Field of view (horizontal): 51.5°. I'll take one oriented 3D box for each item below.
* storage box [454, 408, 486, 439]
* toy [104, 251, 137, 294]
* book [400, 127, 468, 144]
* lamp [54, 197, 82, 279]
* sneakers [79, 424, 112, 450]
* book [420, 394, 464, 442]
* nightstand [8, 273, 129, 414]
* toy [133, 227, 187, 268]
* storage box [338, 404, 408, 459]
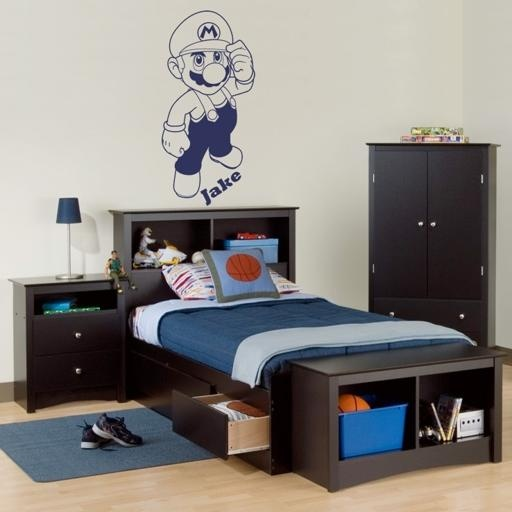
[{"bbox_3d":[0.884,0.688,2.229,0.105,0.087,0.113,-1,-3,-20],"label":"storage box"},{"bbox_3d":[-0.872,0.089,3.354,0.167,0.300,0.266,-11,14,-41],"label":"toy"},{"bbox_3d":[1.366,-0.932,4.084,0.486,0.095,0.056,-1,-1,7],"label":"book"},{"bbox_3d":[-1.187,-0.129,3.393,0.158,0.537,0.322,-1,-1,-20],"label":"lamp"},{"bbox_3d":[-0.731,0.820,2.446,0.059,0.073,0.164,0,-2,14],"label":"sneakers"},{"bbox_3d":[0.760,0.676,2.213,0.143,0.056,0.201,1,49,35],"label":"book"},{"bbox_3d":[-1.135,0.527,3.347,0.573,0.746,0.377,-1,-2,-25],"label":"nightstand"},{"bbox_3d":[-0.670,-0.060,3.646,0.385,0.290,0.205,-4,7,-12],"label":"toy"},{"bbox_3d":[0.433,0.651,1.983,0.229,0.118,0.172,-3,2,-17],"label":"storage box"}]
